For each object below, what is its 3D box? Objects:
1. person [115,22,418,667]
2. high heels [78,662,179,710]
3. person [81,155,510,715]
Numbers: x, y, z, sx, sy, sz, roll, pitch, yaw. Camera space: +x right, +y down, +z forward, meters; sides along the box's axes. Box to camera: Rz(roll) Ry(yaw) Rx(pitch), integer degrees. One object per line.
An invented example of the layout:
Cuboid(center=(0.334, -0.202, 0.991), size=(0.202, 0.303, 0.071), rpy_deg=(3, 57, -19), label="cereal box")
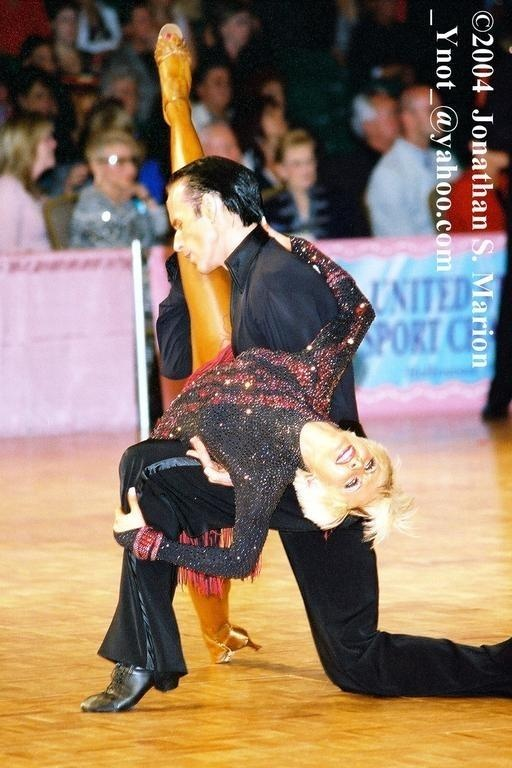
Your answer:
Cuboid(center=(-0.110, -0.135, 1.993), size=(0.231, 1.562, 0.308), rpy_deg=(-19, -2, -30), label="person")
Cuboid(center=(-0.237, 0.553, 1.573), size=(0.219, 0.091, 0.062), rpy_deg=(-11, 55, -2), label="high heels")
Cuboid(center=(0.404, 0.120, 2.053), size=(1.372, 1.258, 0.636), rpy_deg=(-1, 1, 0), label="person")
